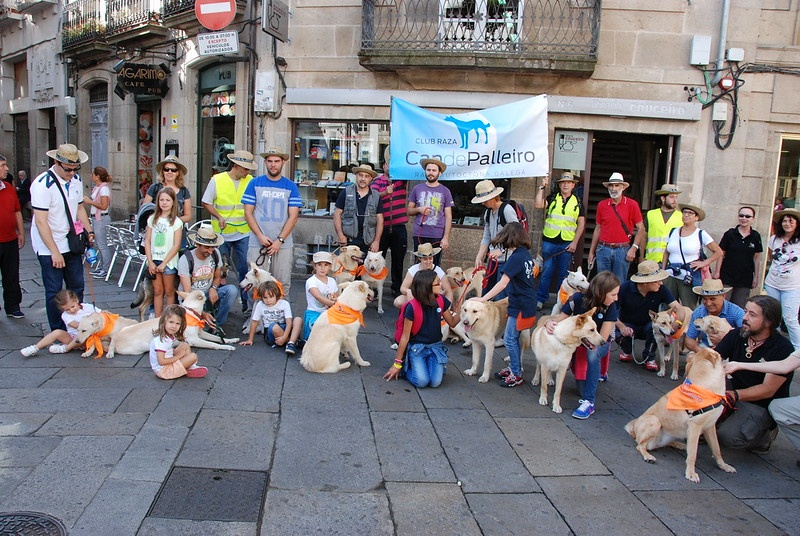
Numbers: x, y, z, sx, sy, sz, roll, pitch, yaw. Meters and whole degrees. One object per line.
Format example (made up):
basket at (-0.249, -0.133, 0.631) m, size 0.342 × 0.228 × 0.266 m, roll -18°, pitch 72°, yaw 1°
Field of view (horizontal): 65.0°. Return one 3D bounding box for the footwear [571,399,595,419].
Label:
footwear at (2.315, 1.748, 7.870) m, size 0.140 × 0.161 × 0.360 m, roll 11°, pitch 7°, yaw 39°

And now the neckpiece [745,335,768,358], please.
neckpiece at (4.170, 0.902, 7.265) m, size 0.145 × 0.272 × 0.242 m, roll 5°, pitch 0°, yaw -32°

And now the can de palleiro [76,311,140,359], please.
can de palleiro at (-4.147, 0.885, 8.813) m, size 0.429 × 0.394 × 0.732 m, roll -2°, pitch 8°, yaw 22°

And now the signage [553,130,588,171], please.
signage at (3.388, -2.336, 12.404) m, size 0.711 × 0.873 × 0.082 m, roll 0°, pitch 5°, yaw -3°

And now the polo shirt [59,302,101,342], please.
polo shirt at (-4.522, 0.702, 8.682) m, size 0.565 × 0.567 × 0.320 m, roll 4°, pitch 11°, yaw 17°

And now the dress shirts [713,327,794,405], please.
dress shirts at (4.089, 1.140, 7.202) m, size 0.417 × 0.685 × 0.753 m, roll 10°, pitch -1°, yaw -26°

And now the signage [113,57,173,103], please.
signage at (-6.440, -4.654, 15.654) m, size 0.051 × 0.981 × 1.363 m, roll 5°, pitch 9°, yaw 44°

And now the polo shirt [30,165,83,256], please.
polo shirt at (-5.063, -0.814, 9.184) m, size 0.643 × 1.214 × 0.394 m, roll -5°, pitch 12°, yaw -29°

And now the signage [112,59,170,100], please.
signage at (-6.444, -4.627, 15.566) m, size 1.182 × 0.836 × 0.073 m, roll -7°, pitch 9°, yaw -44°

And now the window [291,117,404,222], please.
window at (-1.004, -1.991, 12.364) m, size 2.085 × 2.271 × 0.087 m, roll 2°, pitch 5°, yaw 3°

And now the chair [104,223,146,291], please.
chair at (-5.340, -0.193, 12.018) m, size 0.430 × 0.798 × 1.104 m, roll -5°, pitch 19°, yaw -37°

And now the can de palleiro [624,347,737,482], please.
can de palleiro at (3.218, 1.567, 7.001) m, size 1.085 × 1.345 × 0.679 m, roll 4°, pitch 11°, yaw 14°

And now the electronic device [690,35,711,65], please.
electronic device at (5.816, -4.104, 12.023) m, size 0.394 × 0.544 × 0.139 m, roll 1°, pitch 10°, yaw 0°
